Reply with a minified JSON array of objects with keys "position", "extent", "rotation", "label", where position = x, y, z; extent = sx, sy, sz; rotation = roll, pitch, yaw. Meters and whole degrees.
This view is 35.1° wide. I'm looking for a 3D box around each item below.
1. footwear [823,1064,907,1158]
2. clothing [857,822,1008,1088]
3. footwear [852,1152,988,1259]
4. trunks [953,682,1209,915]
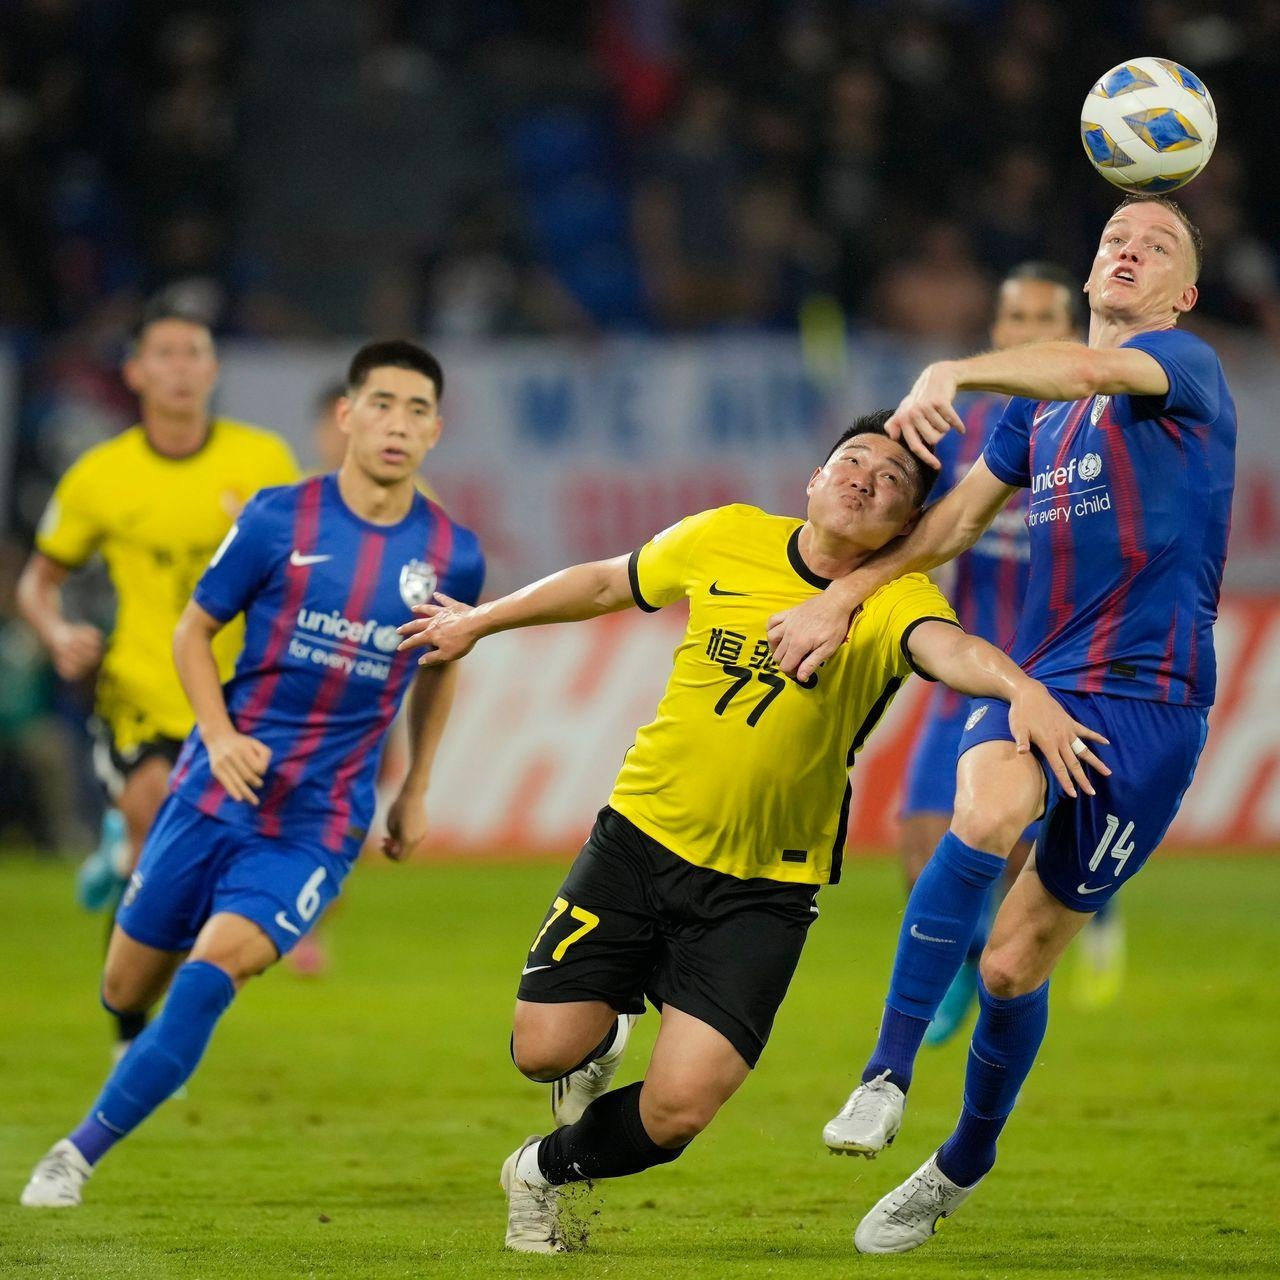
[{"position":[0.521,1.091,4.666],"extent":[0.144,0.163,0.208],"rotation":[1,1,17],"label":"footwear"},{"position":[0.696,0.753,4.799],"extent":[0.320,0.602,0.219],"rotation":[1,1,5],"label":"clothing"},{"position":[0.707,1.379,4.923],"extent":[0.352,0.115,0.138],"rotation":[-31,-9,-34],"label":"footwear"},{"position":[1.155,0.395,4.867],"extent":[0.396,0.537,0.273],"rotation":[1,1,12],"label":"trunks"}]
